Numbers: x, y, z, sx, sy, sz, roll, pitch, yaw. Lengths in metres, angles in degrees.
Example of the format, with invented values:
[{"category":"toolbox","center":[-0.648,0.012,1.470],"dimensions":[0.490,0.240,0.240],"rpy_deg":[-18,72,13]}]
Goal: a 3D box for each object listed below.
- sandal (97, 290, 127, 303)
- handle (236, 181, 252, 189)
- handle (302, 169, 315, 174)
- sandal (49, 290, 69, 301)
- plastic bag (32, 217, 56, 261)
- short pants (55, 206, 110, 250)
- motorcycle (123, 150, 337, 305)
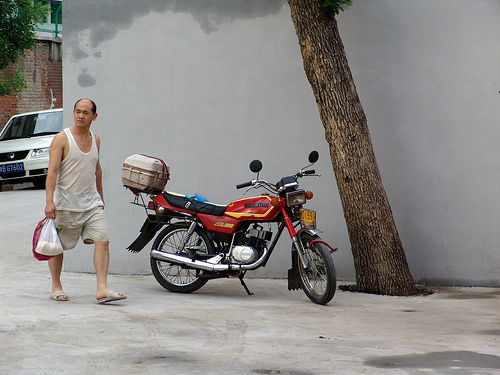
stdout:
[{"category":"sandal","center":[-1.521,1.207,5.704],"dimensions":[0.349,0.129,0.121],"rpy_deg":[-8,-7,15]},{"category":"handle","center":[-0.069,-0.035,6.277],"dimensions":[0.190,0.092,0.380],"rpy_deg":[1,2,-1]},{"category":"handle","center":[0.716,-0.189,6.262],"dimensions":[0.144,0.045,0.131],"rpy_deg":[2,2,6]},{"category":"sandal","center":[-2.185,1.226,5.832],"dimensions":[0.088,0.060,0.239],"rpy_deg":[2,-5,-42]},{"category":"plastic bag","center":[-2.355,0.577,5.688],"dimensions":[0.246,0.405,0.104],"rpy_deg":[8,-4,-40]},{"category":"short pants","center":[-1.931,0.448,5.838],"dimensions":[0.680,0.461,0.235],"rpy_deg":[-3,-7,-3]},{"category":"motorcycle","center":[-0.195,0.551,6.492],"dimensions":[2.926,1.615,1.083],"rpy_deg":[1,-4,25]}]
